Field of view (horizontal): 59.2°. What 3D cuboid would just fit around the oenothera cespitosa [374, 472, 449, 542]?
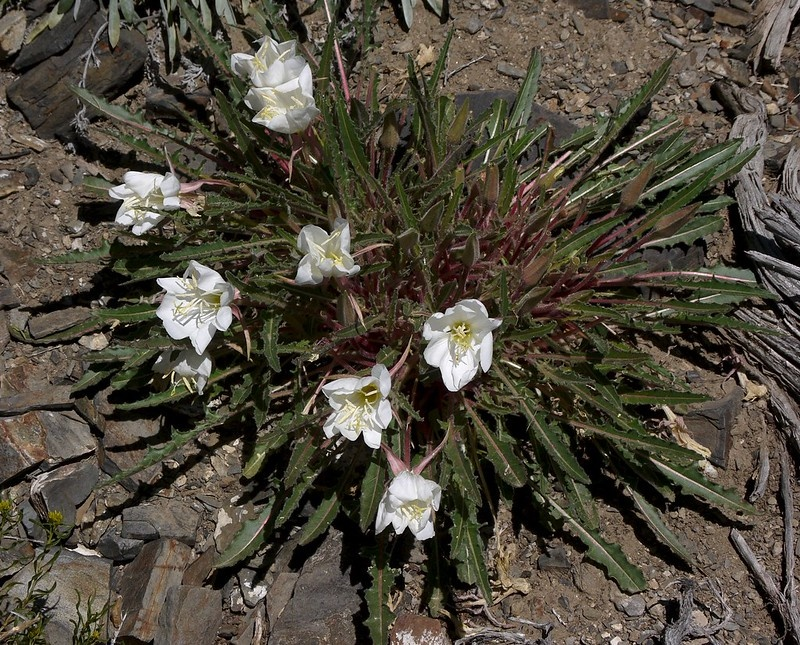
[{"bbox_3d":[0.039,0.644,2.574,0.257,0.106,0.246,-10,126,-8],"label":"oenothera cespitosa"}]

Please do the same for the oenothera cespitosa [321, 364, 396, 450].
[{"bbox_3d":[-0.120,0.283,2.650,0.254,0.163,0.313,24,102,6],"label":"oenothera cespitosa"}]

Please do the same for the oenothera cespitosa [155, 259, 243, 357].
[{"bbox_3d":[-0.735,-0.066,2.767,0.330,0.180,0.342,-8,95,22],"label":"oenothera cespitosa"}]

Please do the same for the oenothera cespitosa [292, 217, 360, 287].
[{"bbox_3d":[-0.276,-0.253,2.576,0.231,0.204,0.206,-13,82,-1],"label":"oenothera cespitosa"}]

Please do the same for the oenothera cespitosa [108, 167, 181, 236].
[{"bbox_3d":[-1.066,-0.500,2.941,0.278,0.130,0.266,4,126,38],"label":"oenothera cespitosa"}]

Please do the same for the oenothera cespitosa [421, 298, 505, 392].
[{"bbox_3d":[0.247,0.093,2.608,0.278,0.170,0.341,-11,102,18],"label":"oenothera cespitosa"}]
